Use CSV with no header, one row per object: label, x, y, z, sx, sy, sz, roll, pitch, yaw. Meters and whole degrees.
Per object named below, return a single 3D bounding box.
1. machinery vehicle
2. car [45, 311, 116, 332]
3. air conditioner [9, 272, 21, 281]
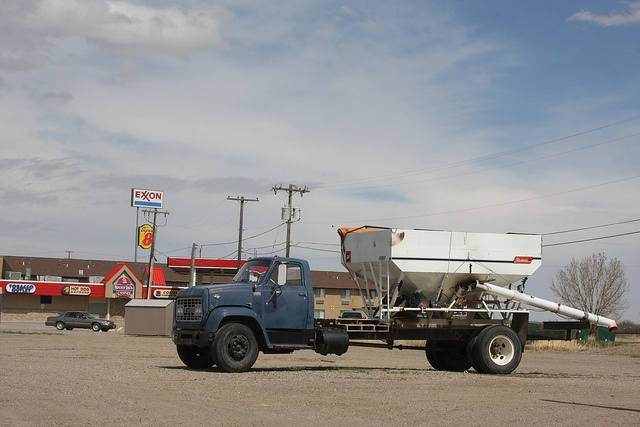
machinery vehicle,3.139,3.229,23.237,14.986,4.134,4.172,2,-9,-11
car,-20.501,9.561,54.569,5.421,1.451,2.205,-1,-5,3
air conditioner,-37.804,7.792,78.885,1.329,0.873,2.997,6,-7,-25
